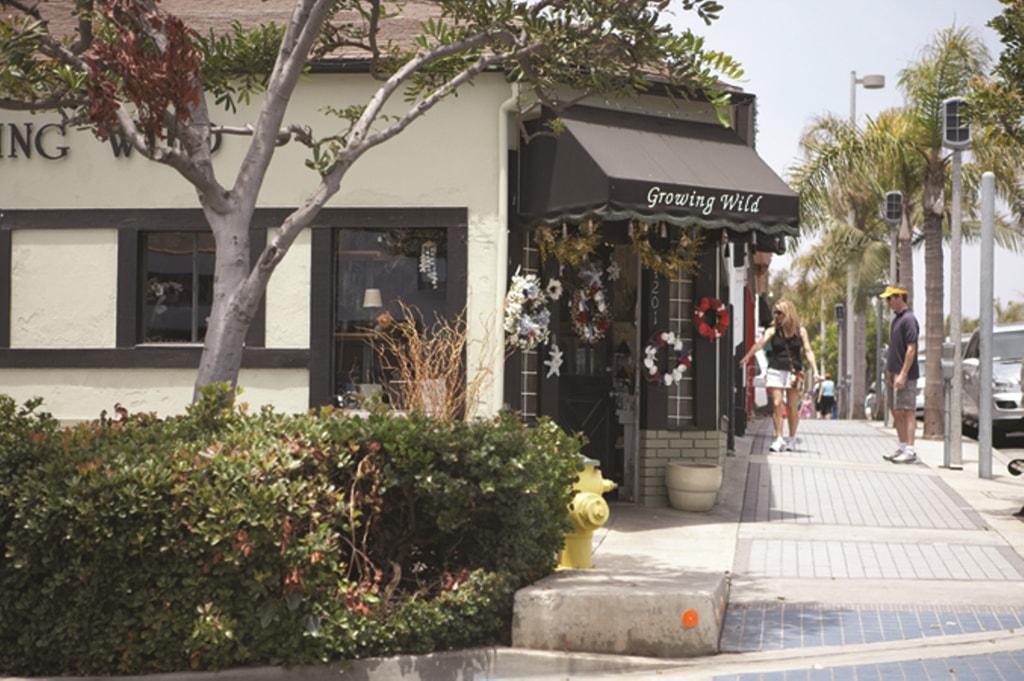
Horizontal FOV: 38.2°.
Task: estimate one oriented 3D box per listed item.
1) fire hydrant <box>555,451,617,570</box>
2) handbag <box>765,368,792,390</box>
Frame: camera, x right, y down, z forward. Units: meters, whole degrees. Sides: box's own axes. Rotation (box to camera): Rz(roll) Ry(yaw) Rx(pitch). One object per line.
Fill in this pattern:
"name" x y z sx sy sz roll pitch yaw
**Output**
"fire hydrant" 0.699 1.895 15.941 1.100 1.181 0.642 -4 -11 28
"handbag" 4.154 0.631 23.033 0.461 0.354 0.274 2 -8 8
